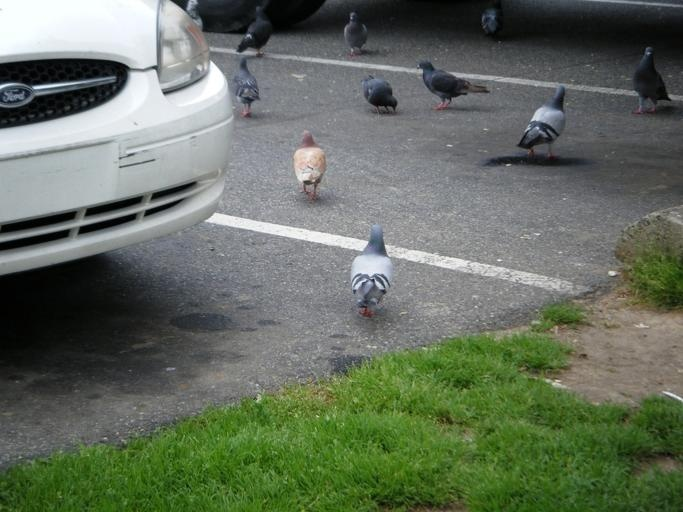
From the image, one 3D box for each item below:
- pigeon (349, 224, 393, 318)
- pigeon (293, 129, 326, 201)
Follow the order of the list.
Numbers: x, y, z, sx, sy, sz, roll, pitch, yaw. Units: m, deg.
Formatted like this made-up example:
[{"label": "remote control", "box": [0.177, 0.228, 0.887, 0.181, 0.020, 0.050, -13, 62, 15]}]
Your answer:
[{"label": "pigeon", "box": [0.178, 0.100, 4.746, 0.256, 0.493, 0.547, 3, 18, 2]}, {"label": "pigeon", "box": [-0.293, -0.784, 6.639, 0.267, 0.526, 0.702, 2, 18, -2]}]
